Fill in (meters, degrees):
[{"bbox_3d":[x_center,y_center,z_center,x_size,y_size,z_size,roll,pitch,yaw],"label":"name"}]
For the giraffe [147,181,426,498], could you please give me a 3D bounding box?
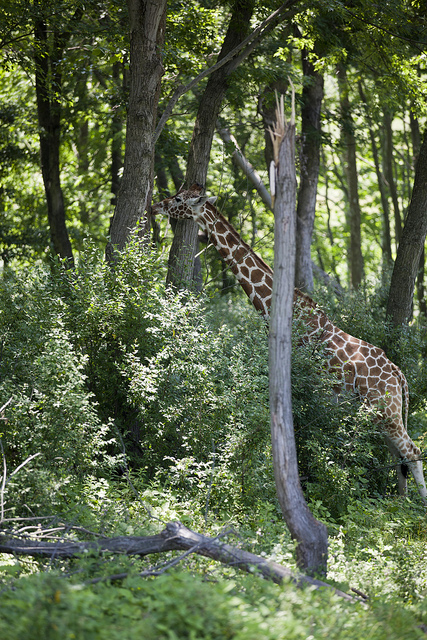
[{"bbox_3d":[0.998,0.151,9.740,2.406,2.958,1.435,1,-5,37],"label":"giraffe"}]
